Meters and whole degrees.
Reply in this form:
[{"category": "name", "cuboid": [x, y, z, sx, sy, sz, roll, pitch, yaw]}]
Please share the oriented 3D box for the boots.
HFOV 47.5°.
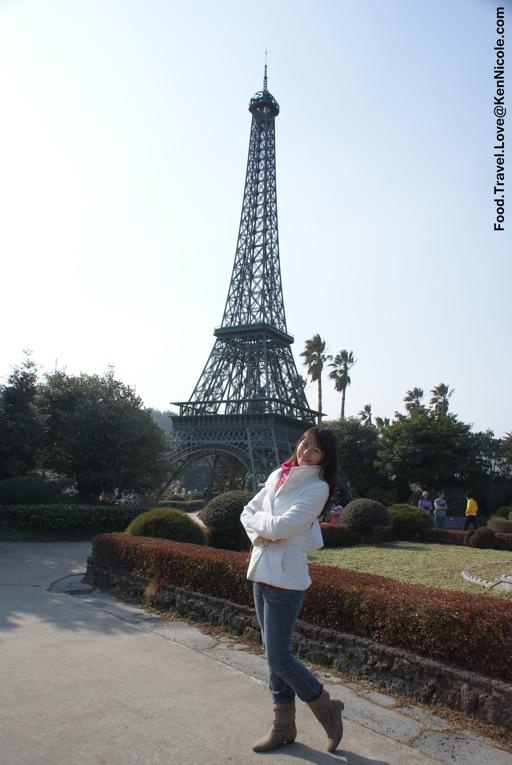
[{"category": "boots", "cuboid": [0.239, 1.906, 3.324, 0.660, 0.350, 0.219, 8, -19, -20]}]
